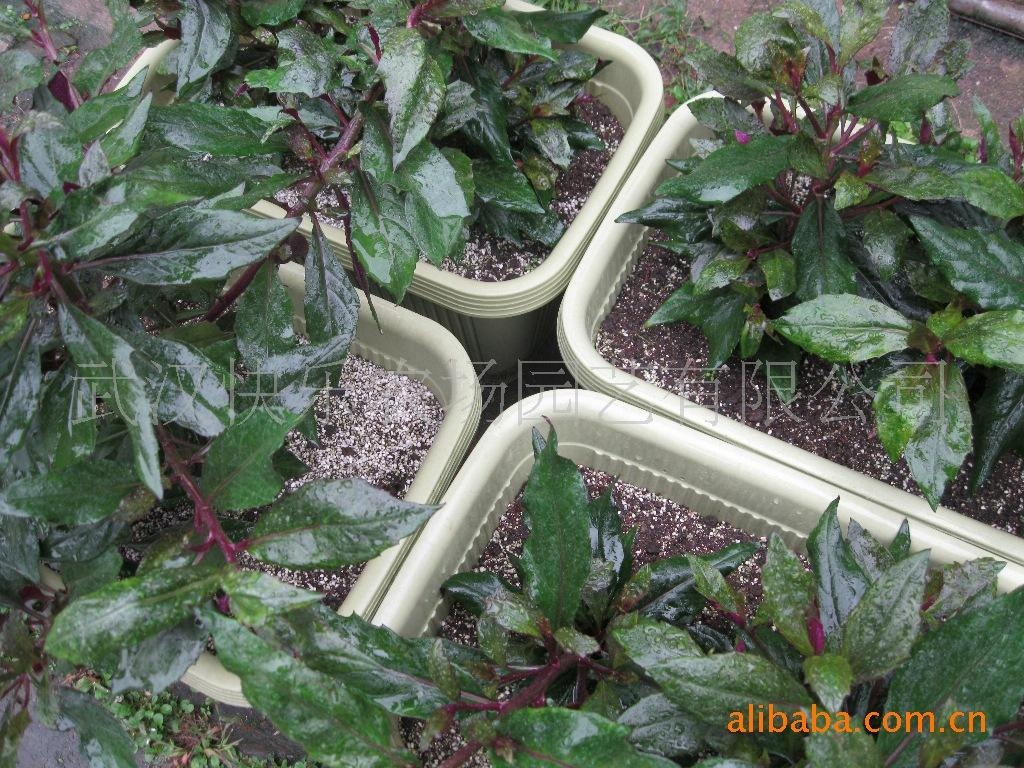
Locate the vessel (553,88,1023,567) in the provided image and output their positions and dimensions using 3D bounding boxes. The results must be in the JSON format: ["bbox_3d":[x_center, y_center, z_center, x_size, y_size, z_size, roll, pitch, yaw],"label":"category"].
[{"bbox_3d":[0.522,0.057,1.921,0.970,0.240,0.731,30,83,7],"label":"vessel"}]

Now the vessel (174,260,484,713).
[{"bbox_3d":[-0.270,0.256,1.936,0.613,0.286,0.968,23,76,12],"label":"vessel"}]
